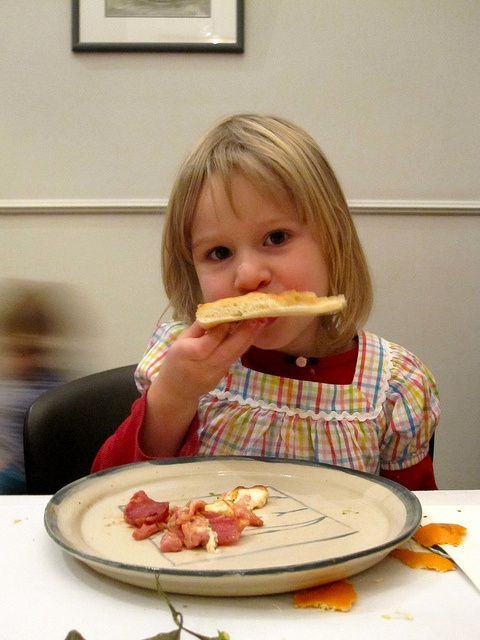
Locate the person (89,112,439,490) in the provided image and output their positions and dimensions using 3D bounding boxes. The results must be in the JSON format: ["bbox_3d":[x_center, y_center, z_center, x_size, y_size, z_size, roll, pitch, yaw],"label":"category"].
[{"bbox_3d":[0.077,-0.048,1.139,0.653,0.685,0.429,3,8,-7],"label":"person"}]
